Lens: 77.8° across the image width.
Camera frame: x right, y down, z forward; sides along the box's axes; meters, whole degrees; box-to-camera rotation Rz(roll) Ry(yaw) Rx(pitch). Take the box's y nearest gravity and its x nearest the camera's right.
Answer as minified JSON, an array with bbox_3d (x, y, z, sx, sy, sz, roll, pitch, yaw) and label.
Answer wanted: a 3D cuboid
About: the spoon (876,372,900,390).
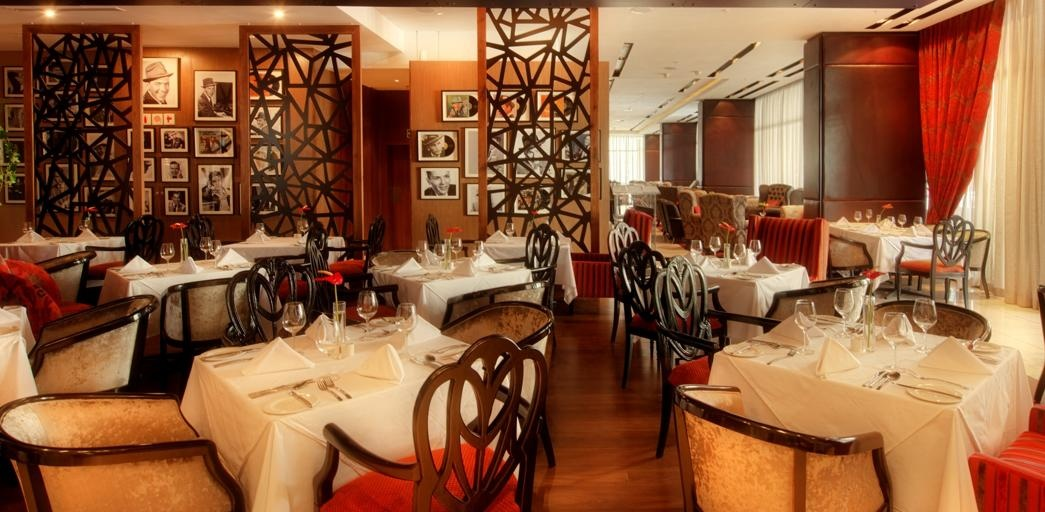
[{"bbox_3d":[3.837,1.247,6.756,0.142,0.047,0.271,8,32,37],"label":"spoon"}]

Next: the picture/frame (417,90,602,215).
[{"bbox_3d":[-0.201,-2.193,13.017,2.944,2.871,0.133,0,-1,5],"label":"picture/frame"}]
